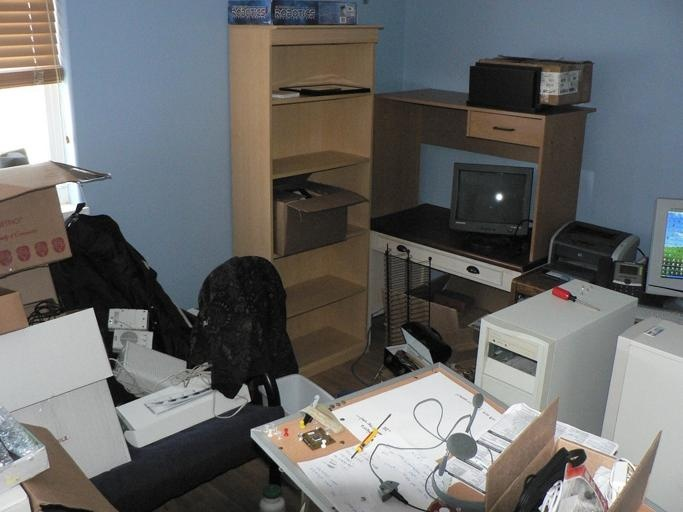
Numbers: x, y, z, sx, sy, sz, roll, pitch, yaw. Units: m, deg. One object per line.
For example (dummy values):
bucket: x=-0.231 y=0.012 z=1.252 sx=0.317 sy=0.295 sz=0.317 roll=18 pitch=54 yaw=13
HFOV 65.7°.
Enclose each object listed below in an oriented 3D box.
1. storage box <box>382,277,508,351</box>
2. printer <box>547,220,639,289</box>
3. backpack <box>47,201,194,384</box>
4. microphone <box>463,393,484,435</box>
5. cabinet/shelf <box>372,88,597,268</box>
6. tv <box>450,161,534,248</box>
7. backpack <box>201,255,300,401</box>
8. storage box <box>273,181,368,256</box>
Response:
storage box: x=0.843 y=0.414 z=4.145 sx=0.629 sy=0.610 sz=0.643 roll=-19 pitch=29 yaw=-32
printer: x=1.525 y=0.066 z=3.383 sx=0.416 sy=0.280 sz=0.430 roll=14 pitch=-8 yaw=22
backpack: x=-1.278 y=0.239 z=3.083 sx=0.571 sy=1.057 sz=0.270 roll=-34 pitch=23 yaw=-36
microphone: x=0.485 y=0.582 z=1.936 sx=0.047 sy=0.146 sz=0.075 roll=18 pitch=24 yaw=10
cabinet/shelf: x=1.013 y=-0.539 z=3.670 sx=1.150 sy=0.798 sz=0.554 roll=20 pitch=27 yaw=41
tv: x=1.076 y=-0.460 z=3.809 sx=0.536 sy=0.502 sz=0.308 roll=6 pitch=27 yaw=16
backpack: x=-0.495 y=0.398 z=2.797 sx=0.516 sy=0.689 sz=0.488 roll=-8 pitch=20 yaw=-16
storage box: x=-0.168 y=-0.225 z=3.519 sx=0.462 sy=0.265 sz=0.549 roll=-19 pitch=28 yaw=-41
